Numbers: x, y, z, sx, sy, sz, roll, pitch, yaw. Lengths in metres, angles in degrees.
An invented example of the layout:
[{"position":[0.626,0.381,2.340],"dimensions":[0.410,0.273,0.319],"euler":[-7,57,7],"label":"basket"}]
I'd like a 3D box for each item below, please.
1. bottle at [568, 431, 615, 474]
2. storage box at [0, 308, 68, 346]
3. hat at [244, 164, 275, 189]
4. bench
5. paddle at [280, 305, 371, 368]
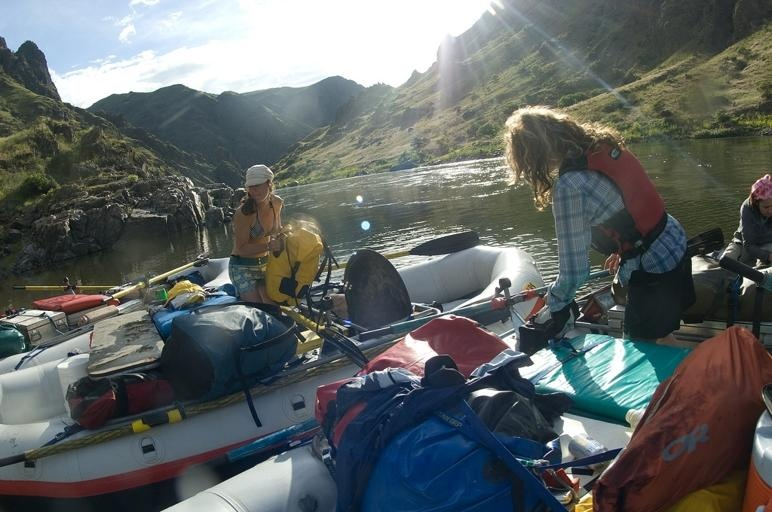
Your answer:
[{"position":[1.485,1.466,3.517],"dimensions":[0.216,0.136,0.390],"euler":[5,-7,12],"label":"bottle"},{"position":[-6.182,1.202,8.298],"dimensions":[0.927,0.470,0.717],"euler":[3,8,11],"label":"storage box"},{"position":[-1.730,-1.099,6.361],"dimensions":[0.386,0.299,0.396],"euler":[-13,4,-18],"label":"hat"},{"position":[-3.089,1.038,5.569],"dimensions":[0.501,0.134,1.367],"euler":[-17,17,-20],"label":"bench"},{"position":[-0.775,1.027,5.917],"dimensions":[0.253,0.311,1.750],"euler":[-10,24,-43],"label":"paddle"}]
